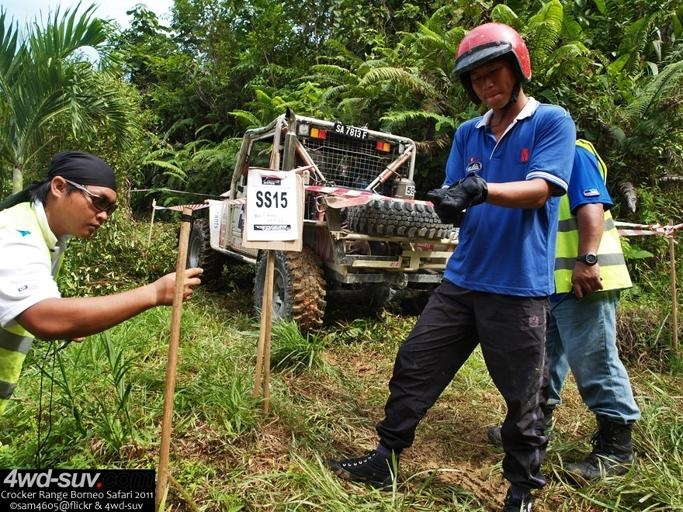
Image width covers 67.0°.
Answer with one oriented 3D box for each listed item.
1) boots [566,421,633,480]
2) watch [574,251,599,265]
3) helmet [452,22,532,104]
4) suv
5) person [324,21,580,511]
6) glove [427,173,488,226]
[{"bbox_3d":[1.764,1.297,3.504,0.550,0.366,0.196,-6,1,-16],"label":"boots"},{"bbox_3d":[1.642,0.002,3.465,0.088,0.091,0.093,-4,17,30],"label":"watch"},{"bbox_3d":[0.931,-1.147,3.102,0.421,0.468,0.529,-10,13,29],"label":"helmet"},{"bbox_3d":[-0.324,-0.436,7.146,2.549,2.389,4.612,0,8,-31],"label":"suv"},{"bbox_3d":[0.807,0.105,3.109,0.977,2.934,0.845,4,5,21],"label":"person"},{"bbox_3d":[0.611,-0.316,2.754,0.304,0.138,0.254,-31,26,-7],"label":"glove"}]
